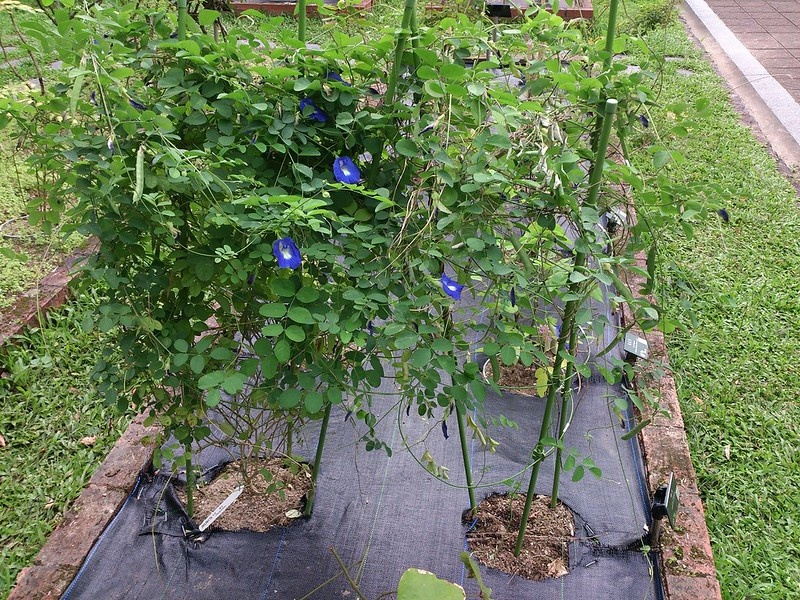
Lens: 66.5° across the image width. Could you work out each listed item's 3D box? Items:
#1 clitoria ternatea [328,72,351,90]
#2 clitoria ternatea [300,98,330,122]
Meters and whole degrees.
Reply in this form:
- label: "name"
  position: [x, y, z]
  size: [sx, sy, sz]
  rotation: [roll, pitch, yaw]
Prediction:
- label: "clitoria ternatea"
  position: [-0.196, -0.677, 1.845]
  size: [0.072, 0.030, 0.051]
  rotation: [31, 24, 0]
- label: "clitoria ternatea"
  position: [-0.265, -0.580, 1.851]
  size: [0.087, 0.055, 0.023]
  rotation: [36, -10, -35]
